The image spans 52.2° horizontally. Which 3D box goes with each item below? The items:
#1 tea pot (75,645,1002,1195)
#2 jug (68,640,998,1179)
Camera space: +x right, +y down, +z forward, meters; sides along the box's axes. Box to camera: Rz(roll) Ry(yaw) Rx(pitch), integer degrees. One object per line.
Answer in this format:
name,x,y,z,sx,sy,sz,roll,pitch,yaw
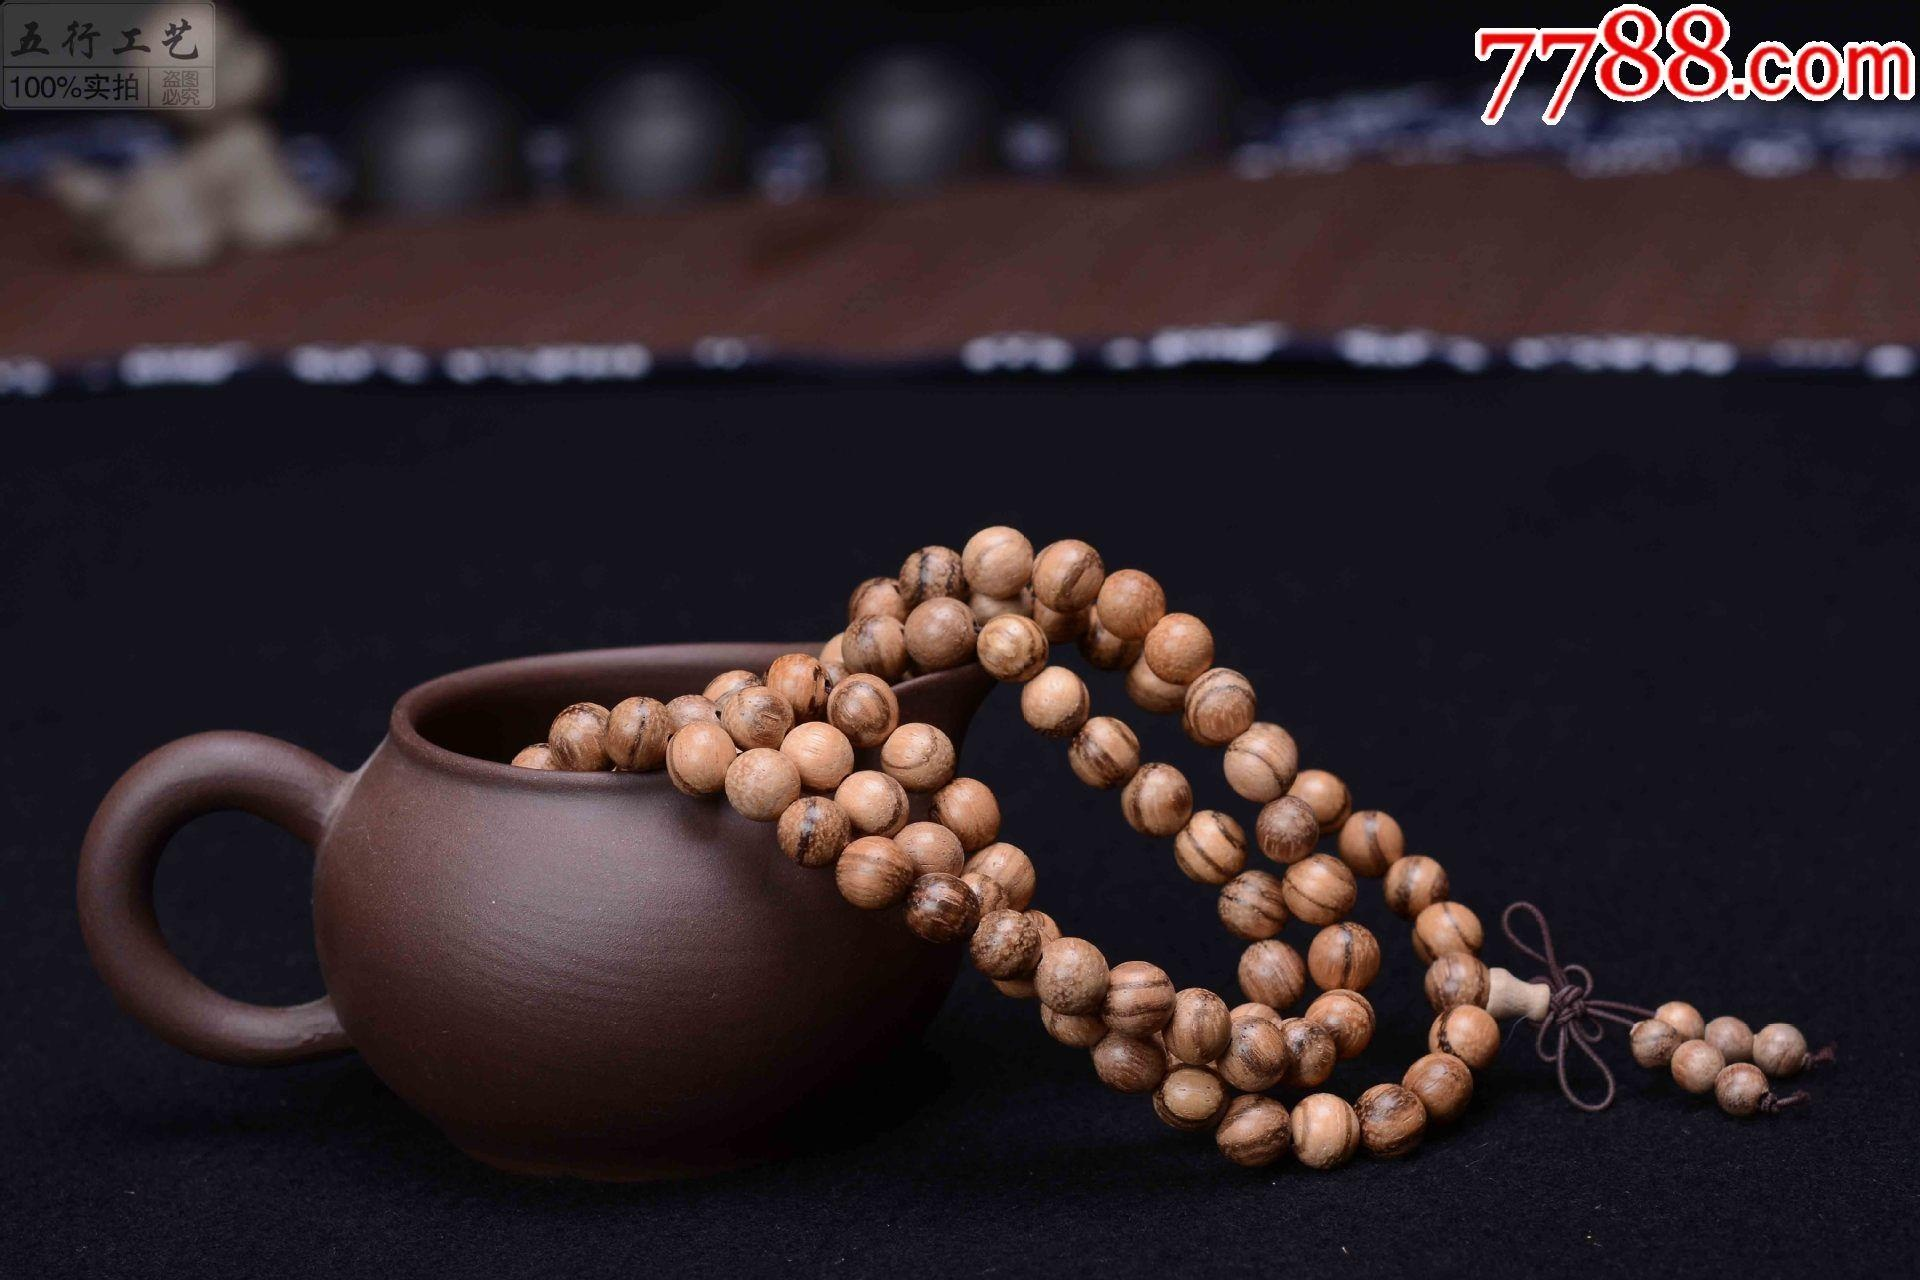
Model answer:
tea pot,-0.246,0.139,1.064,0.366,0.199,0.279,-1,-1,-6
jug,-0.229,0.142,1.007,0.366,0.201,0.279,-1,-1,-6
